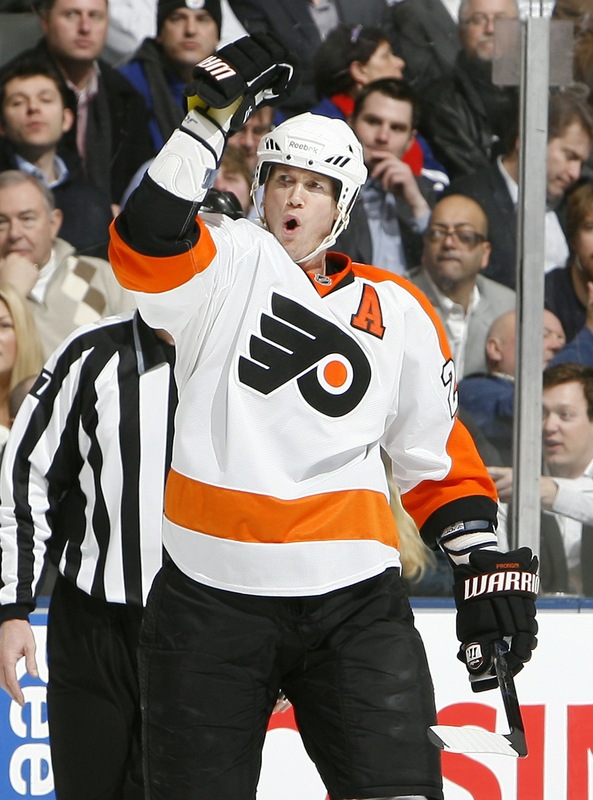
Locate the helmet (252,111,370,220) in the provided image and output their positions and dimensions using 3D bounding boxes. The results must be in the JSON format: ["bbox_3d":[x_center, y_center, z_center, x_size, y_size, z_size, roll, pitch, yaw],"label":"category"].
[{"bbox_3d":[0.059,-0.456,2.927,0.203,0.217,0.230,15,10,8],"label":"helmet"}]

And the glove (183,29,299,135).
[{"bbox_3d":[-0.099,-0.587,2.680,0.245,0.139,0.090,-39,-16,-21],"label":"glove"}]
